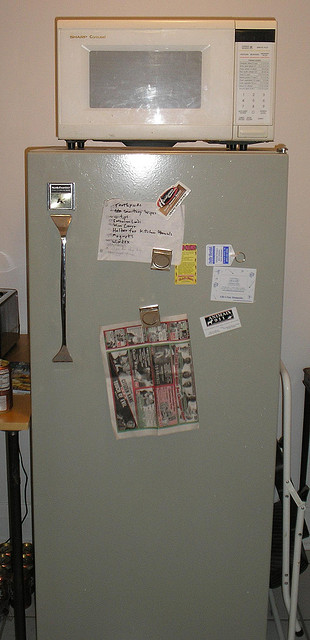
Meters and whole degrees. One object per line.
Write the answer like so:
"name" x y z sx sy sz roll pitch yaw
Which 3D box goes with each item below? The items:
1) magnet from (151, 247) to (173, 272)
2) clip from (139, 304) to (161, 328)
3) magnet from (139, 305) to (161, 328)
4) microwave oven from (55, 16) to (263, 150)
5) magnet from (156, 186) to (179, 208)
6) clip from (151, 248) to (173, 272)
"magnet" 0.015 -0.150 1.147 0.036 0.050 0.011 9 14 -7
"clip" -0.014 -0.013 1.178 0.044 0.063 0.006 -3 6 -1
"magnet" -0.013 -0.011 1.178 0.046 0.055 0.053 -4 10 2
"microwave oven" 0.022 -0.407 1.092 0.423 0.336 0.270 0 8 0
"magnet" 0.029 -0.295 1.129 0.033 0.059 0.015 39 4 -1
"clip" 0.016 -0.150 1.147 0.036 0.047 0.010 9 12 -7
